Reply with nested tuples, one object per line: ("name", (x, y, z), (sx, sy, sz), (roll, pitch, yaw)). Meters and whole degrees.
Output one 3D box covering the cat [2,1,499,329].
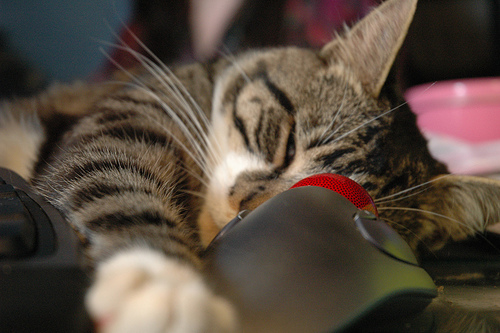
("cat", (0.025, 0.034, 0.986), (0.817, 0.606, 0.328), (-4, -71, -3))
